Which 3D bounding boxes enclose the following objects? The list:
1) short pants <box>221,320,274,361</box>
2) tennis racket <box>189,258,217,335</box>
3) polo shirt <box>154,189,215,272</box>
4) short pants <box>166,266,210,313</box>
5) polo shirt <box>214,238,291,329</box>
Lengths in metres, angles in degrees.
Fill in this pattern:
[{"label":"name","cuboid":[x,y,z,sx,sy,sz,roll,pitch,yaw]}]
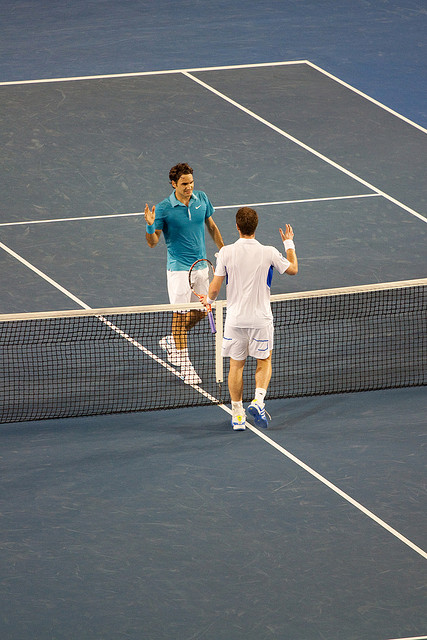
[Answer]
[{"label":"short pants","cuboid":[0.266,0.084,6.688,0.518,0.416,0.266,3,43,4]},{"label":"tennis racket","cuboid":[-0.096,-0.281,7.822,0.262,0.782,0.039,-13,-16,9]},{"label":"polo shirt","cuboid":[-0.320,-0.852,7.754,0.489,0.764,0.330,-1,-1,-4]},{"label":"short pants","cuboid":[-0.238,-0.298,7.658,0.230,0.643,0.314,14,26,40]},{"label":"polo shirt","cuboid":[0.316,-0.295,6.498,0.589,0.723,0.283,-1,-1,4]}]
